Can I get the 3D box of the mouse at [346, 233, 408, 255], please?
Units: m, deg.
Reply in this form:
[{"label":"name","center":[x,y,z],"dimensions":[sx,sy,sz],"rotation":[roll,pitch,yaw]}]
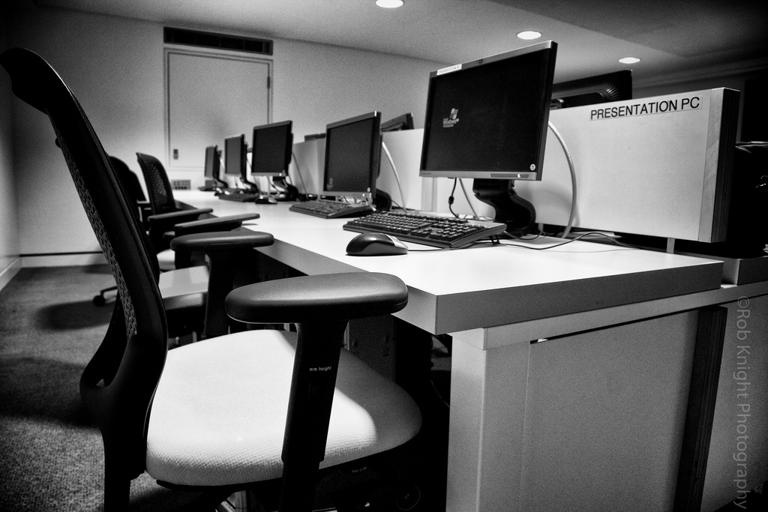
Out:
[{"label":"mouse","center":[-0.020,-0.052,1.667],"dimensions":[0.135,0.047,0.082],"rotation":[-3,8,-15]}]
